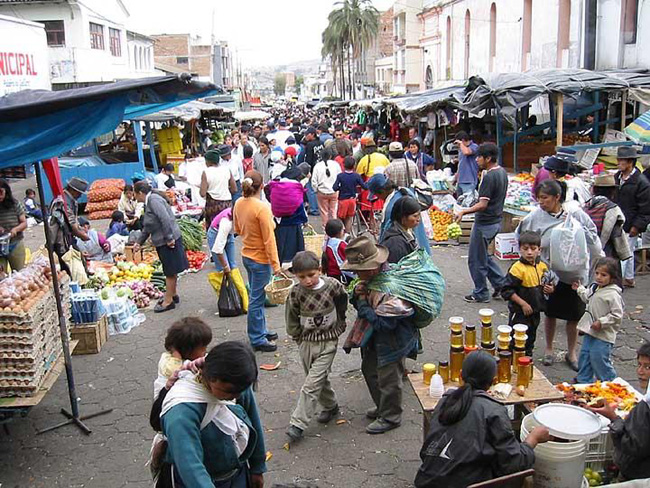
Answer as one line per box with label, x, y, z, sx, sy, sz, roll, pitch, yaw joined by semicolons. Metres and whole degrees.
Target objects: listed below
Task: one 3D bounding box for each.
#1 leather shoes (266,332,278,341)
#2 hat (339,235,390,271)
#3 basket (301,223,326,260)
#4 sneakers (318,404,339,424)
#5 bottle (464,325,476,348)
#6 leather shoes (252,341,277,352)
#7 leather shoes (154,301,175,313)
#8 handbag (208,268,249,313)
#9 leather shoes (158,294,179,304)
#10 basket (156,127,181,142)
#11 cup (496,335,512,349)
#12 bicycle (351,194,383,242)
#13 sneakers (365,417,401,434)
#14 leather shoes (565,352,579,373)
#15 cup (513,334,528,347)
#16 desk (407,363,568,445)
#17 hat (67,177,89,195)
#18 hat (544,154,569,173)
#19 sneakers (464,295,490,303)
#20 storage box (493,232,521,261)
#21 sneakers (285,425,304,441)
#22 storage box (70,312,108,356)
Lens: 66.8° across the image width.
leather shoes;-0.759;1.258;6.757;0.192;0.083;0.071;-5;15;-7
hat;0.322;0.055;4.551;0.484;0.206;0.423;-19;25;5
basket;-0.305;-0.046;9.862;0.554;0.666;0.664;-1;5;-10
sneakers;0.036;1.740;5.128;0.112;0.134;0.279;3;6;40
bottle;1.279;0.799;4.308;0.103;0.200;0.217;1;14;18
leather shoes;-0.816;1.347;6.501;0.328;0.138;0.121;-2;9;-4
leather shoes;-2.696;1.023;8.038;0.283;0.111;0.147;1;0;-27
handbag;-1.532;0.661;7.582;0.478;0.616;0.301;-3;-30;-31
leather shoes;-2.701;0.916;8.304;0.392;0.152;0.143;1;3;-23
basket;-6.442;-4.415;19.753;0.787;0.550;0.598;-7;-4;-7
cup;1.557;0.846;4.259;0.094;0.147;0.140;-1;14;13
bicycle;1.021;-0.733;12.234;1.022;1.330;1.008;1;7;-4
sneakers;0.562;1.763;4.871;0.343;0.160;0.132;0;4;-10
leather shoes;2.942;1.380;5.866;0.095;0.262;0.074;-32;-33;4
cup;1.725;0.841;4.291;0.121;0.123;0.127;-2;12;0
desk;1.412;1.501;4.271;1.118;0.753;0.620;-2;13;-3
hat;-3.862;-0.882;7.690;0.304;0.131;0.344;33;12;9
hat;3.455;-1.194;7.334;0.250;0.132;0.339;6;6;12
sneakers;2.399;0.832;7.794;0.320;0.147;0.139;6;10;18
storage box;3.370;0.043;9.067;0.515;0.477;0.512;-1;6;0
sneakers;-0.307;1.822;4.766;0.096;0.099;0.213;-15;2;-11
storage box;-3.447;1.239;7.013;0.475;0.399;0.834;-3;9;-9
